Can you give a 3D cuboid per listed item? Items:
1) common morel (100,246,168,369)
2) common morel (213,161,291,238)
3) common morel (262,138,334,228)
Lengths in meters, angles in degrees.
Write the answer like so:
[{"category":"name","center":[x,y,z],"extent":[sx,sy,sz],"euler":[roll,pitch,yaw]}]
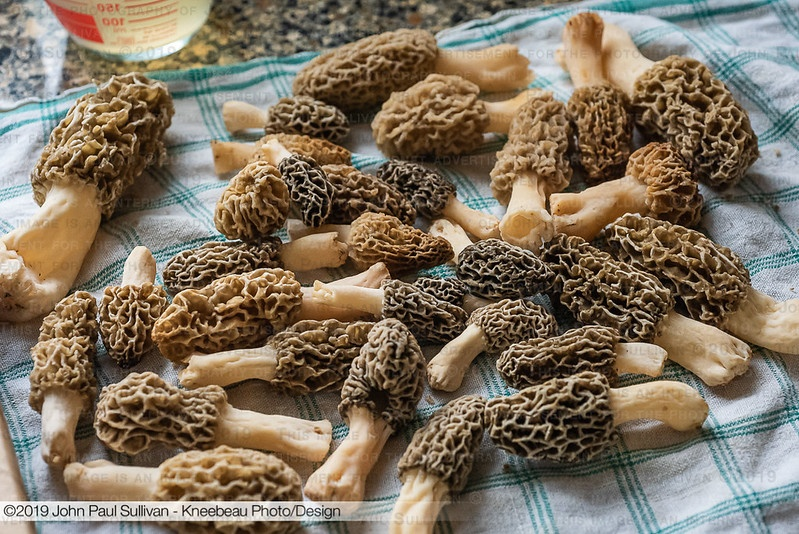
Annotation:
[{"category":"common morel","center":[-1.187,0.188,3.734],"extent":[0.249,0.252,0.531],"euler":[11,59,-20]},{"category":"common morel","center":[-0.660,-0.270,3.890],"extent":[0.367,0.209,0.296],"euler":[-36,55,25]},{"category":"common morel","center":[-0.473,-0.409,4.006],"extent":[0.234,0.207,0.441],"euler":[-36,79,-28]}]
